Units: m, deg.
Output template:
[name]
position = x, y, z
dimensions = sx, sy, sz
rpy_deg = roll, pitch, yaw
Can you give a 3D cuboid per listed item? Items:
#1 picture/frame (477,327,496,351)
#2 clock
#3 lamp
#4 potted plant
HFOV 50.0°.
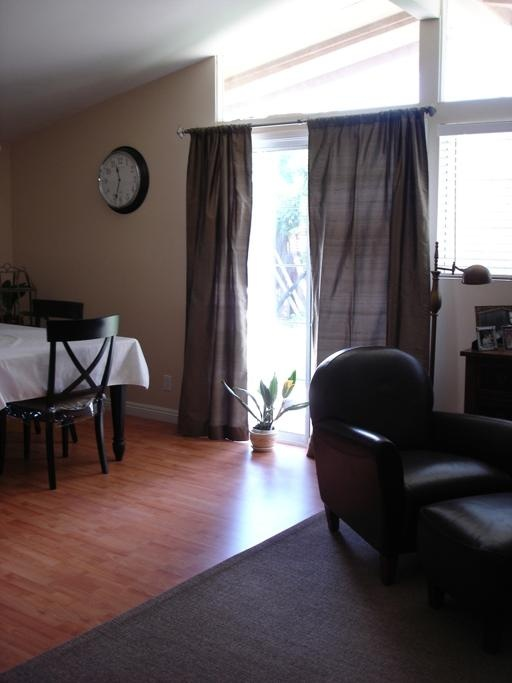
[picture/frame]
position = 1.181, -0.010, 2.826
dimensions = 0.077, 0.133, 0.021
rpy_deg = 1, -6, -11
[clock]
position = -1.029, -1.246, 4.240
dimensions = 0.506, 0.482, 0.105
rpy_deg = 2, 3, 38
[lamp]
position = 1.032, -0.073, 2.943
dimensions = 0.320, 1.092, 0.243
rpy_deg = -4, 44, 12
[potted plant]
position = 0.065, 0.466, 3.557
dimensions = 0.410, 0.539, 0.365
rpy_deg = 6, 4, 13
